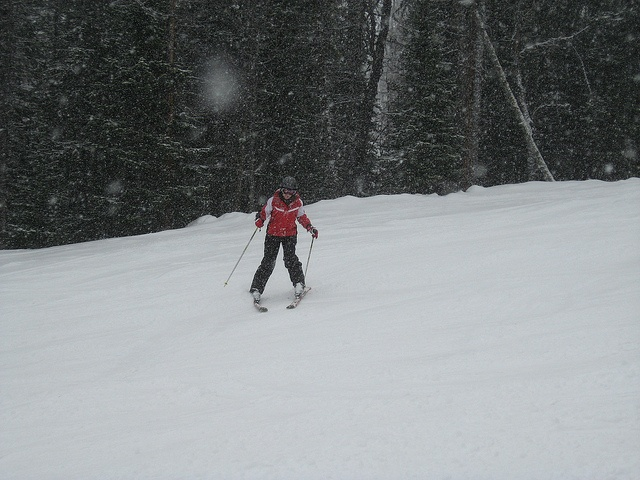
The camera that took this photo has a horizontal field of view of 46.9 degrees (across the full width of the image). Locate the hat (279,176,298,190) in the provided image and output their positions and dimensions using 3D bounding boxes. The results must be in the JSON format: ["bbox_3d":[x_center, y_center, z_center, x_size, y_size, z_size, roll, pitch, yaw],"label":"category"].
[{"bbox_3d":[-0.703,-1.316,17.062,0.265,0.303,0.343,4,-7,-11],"label":"hat"}]

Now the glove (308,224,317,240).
[{"bbox_3d":[-0.119,-0.207,17.339,0.140,0.269,0.267,-14,-4,-18],"label":"glove"}]
